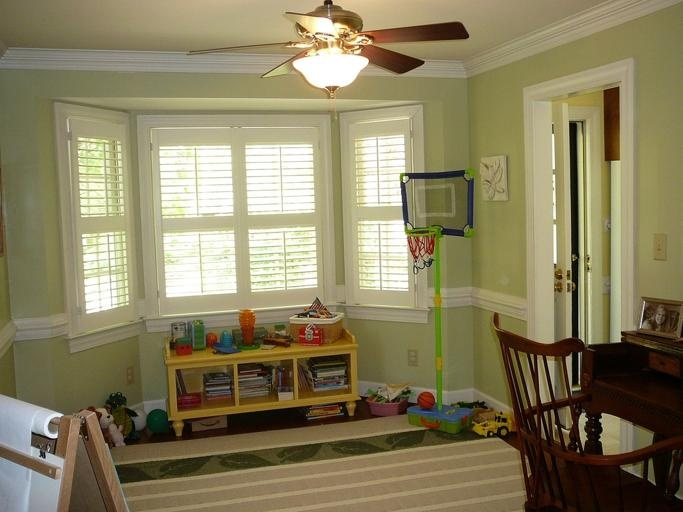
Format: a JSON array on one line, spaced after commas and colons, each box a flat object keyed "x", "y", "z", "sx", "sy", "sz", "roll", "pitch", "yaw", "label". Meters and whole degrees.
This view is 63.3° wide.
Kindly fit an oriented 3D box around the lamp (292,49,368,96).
[{"x": -0.043, "y": -0.850, "z": 2.607, "sx": 0.234, "sy": 0.096, "sz": 0.228, "roll": 0, "pitch": -2, "yaw": 2, "label": "lamp"}]

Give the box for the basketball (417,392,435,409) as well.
[{"x": 0.674, "y": 1.106, "z": 4.322, "sx": 0.132, "sy": 0.127, "sz": 0.135, "roll": 6, "pitch": -1, "yaw": -38, "label": "basketball"}]
